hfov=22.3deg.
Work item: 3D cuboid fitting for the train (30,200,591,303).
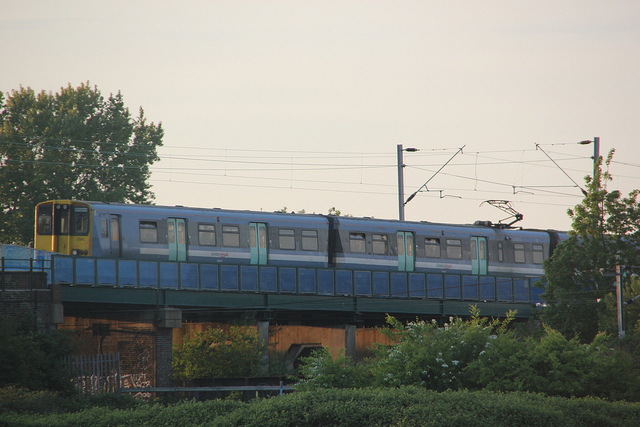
[{"bbox_3d":[-1.228,1.990,83.002,26.677,4.940,3.039,4,-12,-22],"label":"train"}]
